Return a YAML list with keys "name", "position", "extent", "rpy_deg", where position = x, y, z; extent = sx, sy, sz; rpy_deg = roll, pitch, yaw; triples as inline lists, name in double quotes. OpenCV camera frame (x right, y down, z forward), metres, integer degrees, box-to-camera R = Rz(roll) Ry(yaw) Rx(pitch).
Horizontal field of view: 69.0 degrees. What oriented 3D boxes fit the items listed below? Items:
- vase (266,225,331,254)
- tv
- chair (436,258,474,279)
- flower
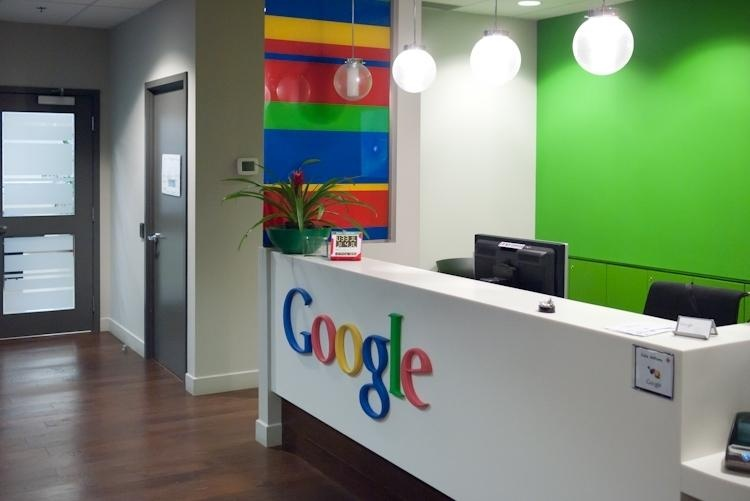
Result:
- name: "vase"
  position: [-0.551, -0.071, 3.804]
  extent: [0.246, 0.104, 0.249]
  rpy_deg: [-4, -5, 43]
- name: "tv"
  position: [0.829, 0.082, 3.263]
  extent: [0.659, 0.295, 0.176]
  rpy_deg: [10, 13, 43]
- name: "chair"
  position: [0.881, 0.196, 6.086]
  extent: [0.412, 0.193, 0.357]
  rpy_deg: [-1, 10, -5]
- name: "flower"
  position: [-0.580, -0.230, 4.032]
  extent: [1.039, 0.663, 1.136]
  rpy_deg: [5, -4, -23]
